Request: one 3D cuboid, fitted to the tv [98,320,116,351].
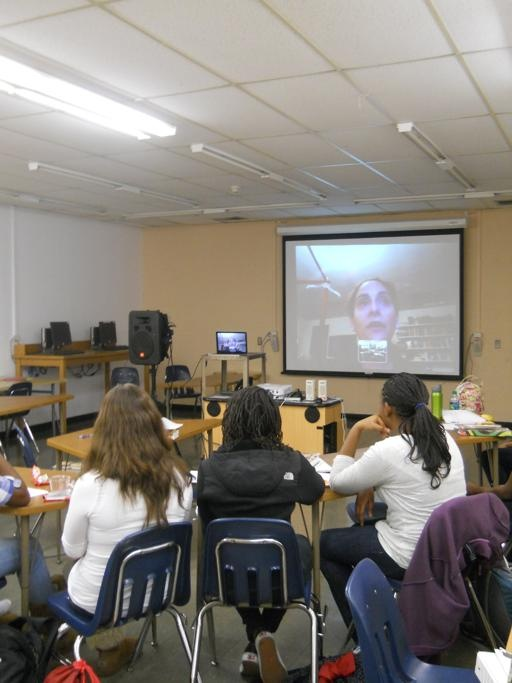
[{"bbox_3d":[-2.179,-0.064,7.789,0.060,0.401,0.429,-4,0,23],"label":"tv"}]

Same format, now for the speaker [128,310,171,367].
[{"bbox_3d":[-1.232,-0.031,6.192,0.487,0.636,0.321,-2,3,-12],"label":"speaker"}]

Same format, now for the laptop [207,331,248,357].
[{"bbox_3d":[-0.326,0.026,6.302,0.353,0.246,0.036,1,5,18],"label":"laptop"}]

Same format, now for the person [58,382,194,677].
[{"bbox_3d":[-0.418,0.515,1.805,0.443,0.706,0.363,-3,3,-40],"label":"person"}]

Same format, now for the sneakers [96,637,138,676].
[{"bbox_3d":[-0.545,1.240,2.159,0.077,0.159,0.170,5,5,13],"label":"sneakers"}]

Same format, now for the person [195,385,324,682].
[{"bbox_3d":[0.035,0.736,1.983,0.371,1.130,0.469,1,3,39],"label":"person"}]

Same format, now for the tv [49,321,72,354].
[{"bbox_3d":[-2.576,-0.044,6.983,0.220,0.427,0.430,-1,1,11],"label":"tv"}]

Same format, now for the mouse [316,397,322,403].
[{"bbox_3d":[0.564,0.536,4.829,0.041,0.040,0.039,0,-3,6],"label":"mouse"}]

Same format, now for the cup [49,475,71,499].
[{"bbox_3d":[-0.798,0.600,2.212,0.075,0.065,0.093,-2,-10,11],"label":"cup"}]

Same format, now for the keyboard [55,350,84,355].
[{"bbox_3d":[-2.368,0.152,6.690,0.256,0.051,0.346,-1,3,10],"label":"keyboard"}]

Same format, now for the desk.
[{"bbox_3d":[-1.952,0.453,5.650,0.464,0.761,1.213,0,3,17],"label":"desk"}]
